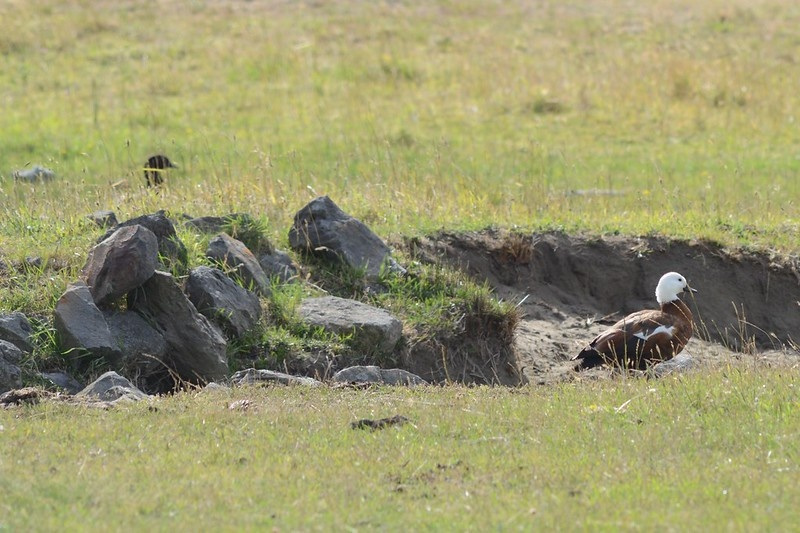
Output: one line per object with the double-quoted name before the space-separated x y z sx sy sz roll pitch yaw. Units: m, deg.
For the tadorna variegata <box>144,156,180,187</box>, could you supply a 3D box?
"tadorna variegata" -4.533 -1.849 28.693 0.582 0.576 0.572 -3 6 6
